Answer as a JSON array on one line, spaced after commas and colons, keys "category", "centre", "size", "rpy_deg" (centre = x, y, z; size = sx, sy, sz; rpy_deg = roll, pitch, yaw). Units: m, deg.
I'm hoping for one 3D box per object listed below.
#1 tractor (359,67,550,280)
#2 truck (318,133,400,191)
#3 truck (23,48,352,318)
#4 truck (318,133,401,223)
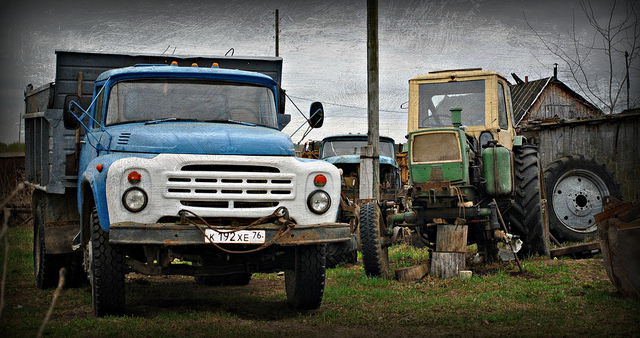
[{"category": "tractor", "centre": [3.385, -0.029, 15.373], "size": [3.585, 4.224, 6.422], "rpy_deg": [-3, -5, 17]}, {"category": "truck", "centre": [1.151, 0.233, 19.769], "size": [3.068, 2.632, 4.963], "rpy_deg": [0, -4, -7]}, {"category": "truck", "centre": [-2.601, -0.058, 10.865], "size": [4.278, 3.565, 7.350], "rpy_deg": [1, -3, -23]}, {"category": "truck", "centre": [1.234, 0.181, 19.855], "size": [2.651, 2.605, 4.782], "rpy_deg": [0, 0, 1]}]
